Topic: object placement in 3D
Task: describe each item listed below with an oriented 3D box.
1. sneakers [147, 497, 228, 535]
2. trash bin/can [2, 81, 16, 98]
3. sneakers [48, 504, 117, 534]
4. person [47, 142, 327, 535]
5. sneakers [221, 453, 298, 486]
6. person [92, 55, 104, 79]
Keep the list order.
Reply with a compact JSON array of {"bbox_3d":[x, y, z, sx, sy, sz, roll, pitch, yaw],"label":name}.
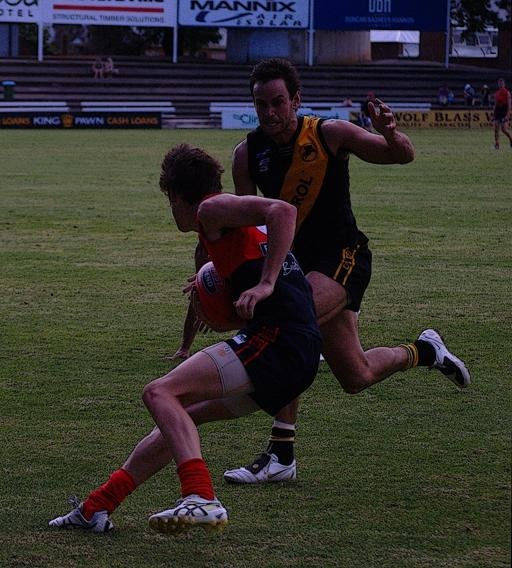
[{"bbox_3d":[-0.229,0.883,3.981,0.362,0.104,0.172,-2,32,-4],"label":"sneakers"},{"bbox_3d":[-8.713,-7.047,36.602,0.402,0.651,2.516,-4,13,-14],"label":"trash bin/can"},{"bbox_3d":[-0.791,1.031,4.520,0.333,0.119,0.099,4,-5,8],"label":"sneakers"},{"bbox_3d":[-0.264,0.264,4.297,0.829,1.667,0.960,9,17,32],"label":"person"},{"bbox_3d":[0.025,0.901,4.943,0.375,0.125,0.130,1,-8,-4],"label":"sneakers"},{"bbox_3d":[-6.155,-8.698,40.605,0.459,0.804,0.832,-3,13,-9],"label":"person"}]
